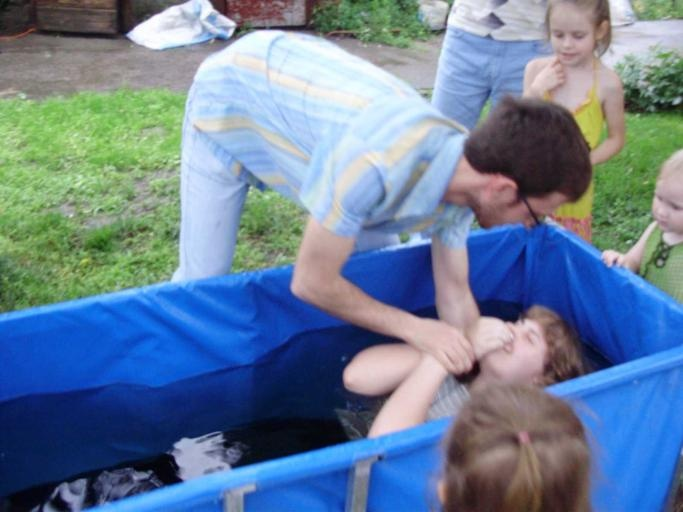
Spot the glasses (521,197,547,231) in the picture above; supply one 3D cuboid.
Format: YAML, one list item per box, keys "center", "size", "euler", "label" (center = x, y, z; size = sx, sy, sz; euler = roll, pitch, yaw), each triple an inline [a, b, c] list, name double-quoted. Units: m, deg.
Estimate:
- center: [0.692, -0.153, 2.044]
  size: [0.079, 0.035, 0.061]
  euler: [51, 10, 4]
  label: "glasses"
